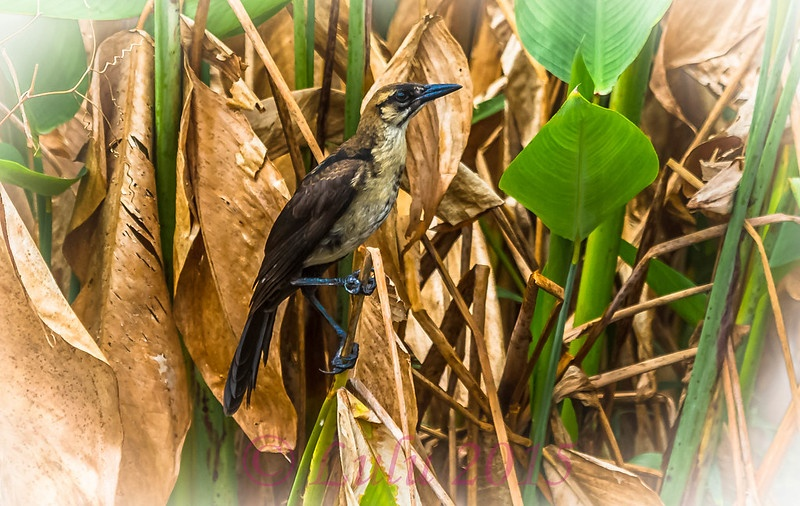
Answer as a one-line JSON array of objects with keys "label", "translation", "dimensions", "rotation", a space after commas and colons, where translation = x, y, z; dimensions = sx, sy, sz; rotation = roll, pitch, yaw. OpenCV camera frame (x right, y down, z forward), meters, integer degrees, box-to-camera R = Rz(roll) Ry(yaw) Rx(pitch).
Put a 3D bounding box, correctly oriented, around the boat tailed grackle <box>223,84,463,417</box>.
[{"label": "boat tailed grackle", "translation": [-0.189, -0.043, 2.486], "dimensions": [0.514, 0.989, 0.217], "rotation": [8, 8, -27]}]
